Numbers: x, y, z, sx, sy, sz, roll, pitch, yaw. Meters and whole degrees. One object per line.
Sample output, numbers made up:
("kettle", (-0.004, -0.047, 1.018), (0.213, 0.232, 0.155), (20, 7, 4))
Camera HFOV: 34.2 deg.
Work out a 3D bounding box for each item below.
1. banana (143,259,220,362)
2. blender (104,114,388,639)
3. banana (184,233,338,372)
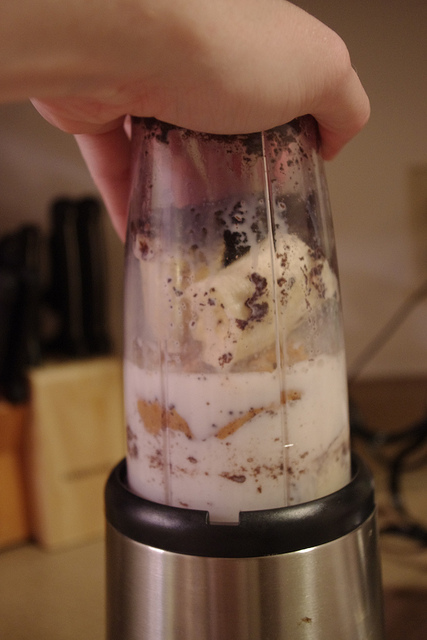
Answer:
("banana", (-0.024, -0.005, 0.422), (0.050, 0.067, 0.044), (3, -21, -29))
("blender", (0.007, 0.037, 0.425), (0.178, 0.328, 0.138), (-2, 10, 11))
("banana", (0.025, -0.012, 0.397), (0.099, 0.055, 0.032), (-25, 14, -20))
